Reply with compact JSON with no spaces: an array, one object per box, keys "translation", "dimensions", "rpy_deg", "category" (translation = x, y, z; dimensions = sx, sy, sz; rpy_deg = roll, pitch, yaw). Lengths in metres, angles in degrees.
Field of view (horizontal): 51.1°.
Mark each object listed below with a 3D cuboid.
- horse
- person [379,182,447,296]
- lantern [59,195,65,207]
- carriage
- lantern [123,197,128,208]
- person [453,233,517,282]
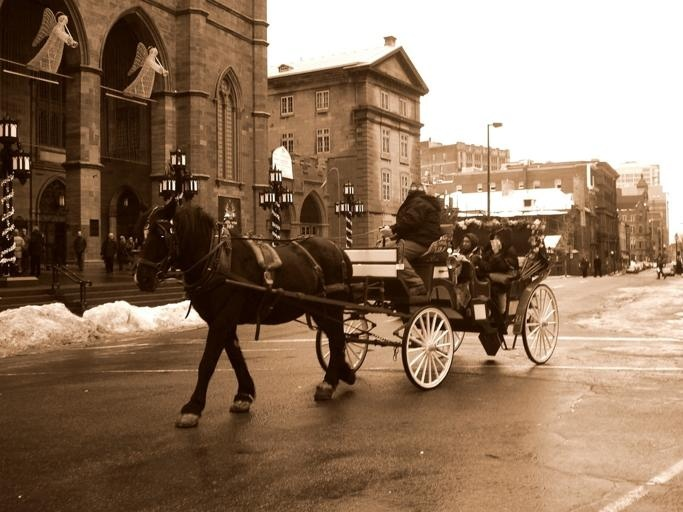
[{"translation":[-1.265,0.618,9.812],"dimensions":[2.959,2.821,1.150],"rpy_deg":[-2,4,-32],"category":"horse"},{"translation":[1.158,-0.385,11.493],"dimensions":[0.608,2.379,0.695],"rpy_deg":[-3,6,-29],"category":"person"},{"translation":[-15.507,-3.056,39.623],"dimensions":[0.285,0.641,0.684],"rpy_deg":[-1,3,-22],"category":"lantern"},{"translation":[0.639,0.923,12.622],"dimensions":[9.083,4.573,2.603],"rpy_deg":[5,-9,-40],"category":"carriage"},{"translation":[-12.771,-3.160,42.388],"dimensions":[0.285,0.643,0.312],"rpy_deg":[3,2,38],"category":"lantern"},{"translation":[2.410,0.115,12.457],"dimensions":[1.020,1.119,0.842],"rpy_deg":[-5,6,-39],"category":"person"}]
